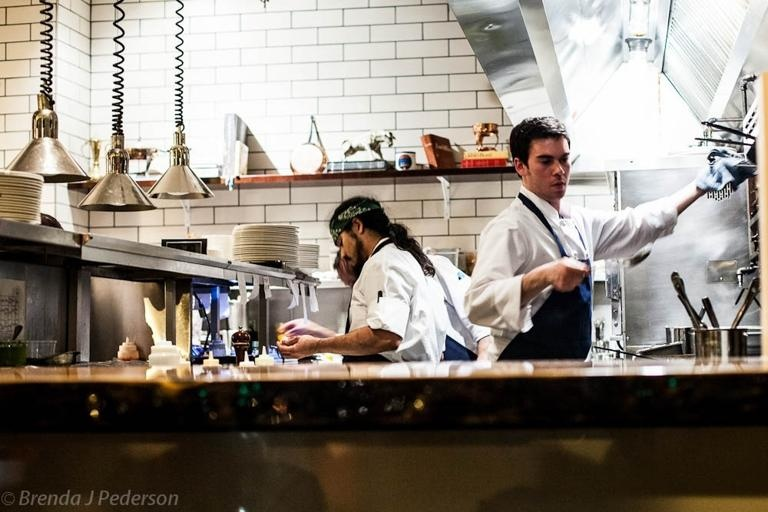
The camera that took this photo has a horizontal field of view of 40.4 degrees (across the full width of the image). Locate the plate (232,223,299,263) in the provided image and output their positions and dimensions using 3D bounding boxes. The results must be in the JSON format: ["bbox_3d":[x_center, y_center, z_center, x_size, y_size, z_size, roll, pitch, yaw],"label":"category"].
[{"bbox_3d":[-0.734,-0.090,6.706,0.298,0.175,0.292,0,0,4],"label":"plate"}]

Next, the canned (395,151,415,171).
[{"bbox_3d":[0.164,-0.689,7.452,0.135,0.133,0.135,1,-2,-14],"label":"canned"}]

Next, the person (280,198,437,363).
[{"bbox_3d":[-0.087,0.337,5.275,0.811,1.187,0.902,0,4,2],"label":"person"}]

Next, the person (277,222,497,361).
[{"bbox_3d":[0.050,0.173,5.582,1.805,0.786,0.698,0,-5,5],"label":"person"}]

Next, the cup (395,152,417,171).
[{"bbox_3d":[0.162,-0.683,7.454,0.140,0.137,0.141,1,-2,0],"label":"cup"}]

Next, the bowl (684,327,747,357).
[{"bbox_3d":[1.480,0.377,4.606,0.150,0.133,0.190,-1,-12,7],"label":"bowl"}]

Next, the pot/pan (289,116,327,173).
[{"bbox_3d":[-0.545,-0.823,7.604,0.273,0.495,0.294,-3,-7,-3],"label":"pot/pan"}]

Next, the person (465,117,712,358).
[{"bbox_3d":[0.866,-0.102,4.993,0.560,1.190,1.106,-8,-8,35],"label":"person"}]

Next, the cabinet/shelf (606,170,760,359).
[{"bbox_3d":[1.842,0.042,6.997,1.098,1.582,0.934,-1,-7,12],"label":"cabinet/shelf"}]
